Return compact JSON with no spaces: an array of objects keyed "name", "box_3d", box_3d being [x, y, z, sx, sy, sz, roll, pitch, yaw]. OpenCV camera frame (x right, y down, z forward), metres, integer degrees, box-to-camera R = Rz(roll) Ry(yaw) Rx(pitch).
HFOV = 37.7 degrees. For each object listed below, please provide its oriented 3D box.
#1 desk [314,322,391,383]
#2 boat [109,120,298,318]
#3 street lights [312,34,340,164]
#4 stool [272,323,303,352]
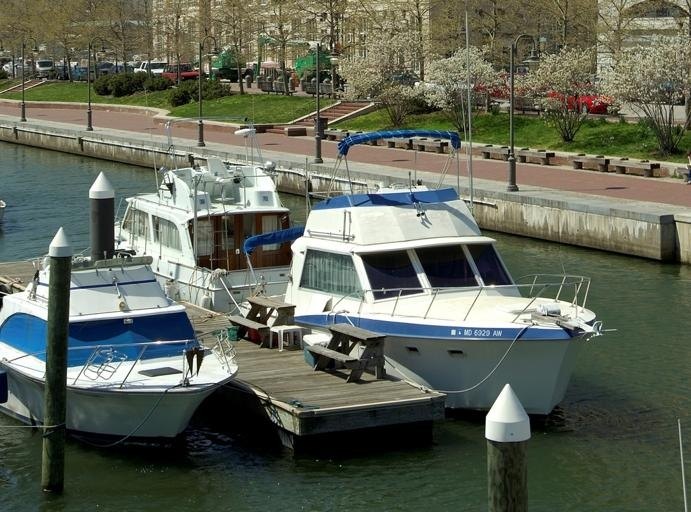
[{"name":"desk","box_3d":[0.300,1.875,20.399,1.705,0.987,1.521,-6,16,-36]},{"name":"boat","box_3d":[-2.216,-0.005,27.001,6.021,4.798,3.835,13,19,42]},{"name":"street lights","box_3d":[-1.190,-6.500,43.567,0.872,5.176,0.772,-1,20,-11]},{"name":"stool","box_3d":[-1.170,1.736,21.660,0.655,0.358,0.599,-3,2,-32]}]
